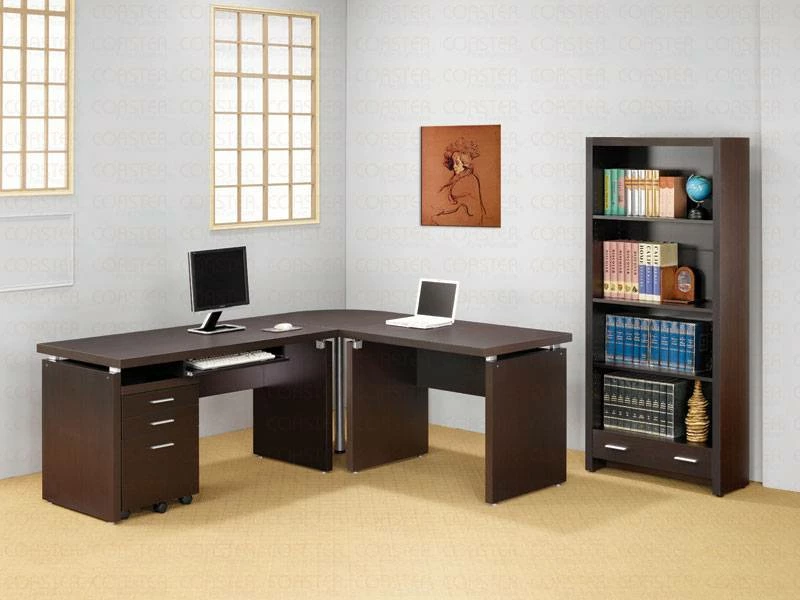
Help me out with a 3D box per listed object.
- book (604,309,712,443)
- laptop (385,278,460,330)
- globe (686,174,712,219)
[{"bbox_3d":[1.801,0.543,4.640,0.869,0.913,0.330,6,11,44],"label":"book"},{"bbox_3d":[0.145,0.003,4.767,0.398,0.301,0.407,5,8,41],"label":"laptop"},{"bbox_3d":[1.998,-0.712,4.517,0.228,0.286,0.231,2,13,20],"label":"globe"}]
